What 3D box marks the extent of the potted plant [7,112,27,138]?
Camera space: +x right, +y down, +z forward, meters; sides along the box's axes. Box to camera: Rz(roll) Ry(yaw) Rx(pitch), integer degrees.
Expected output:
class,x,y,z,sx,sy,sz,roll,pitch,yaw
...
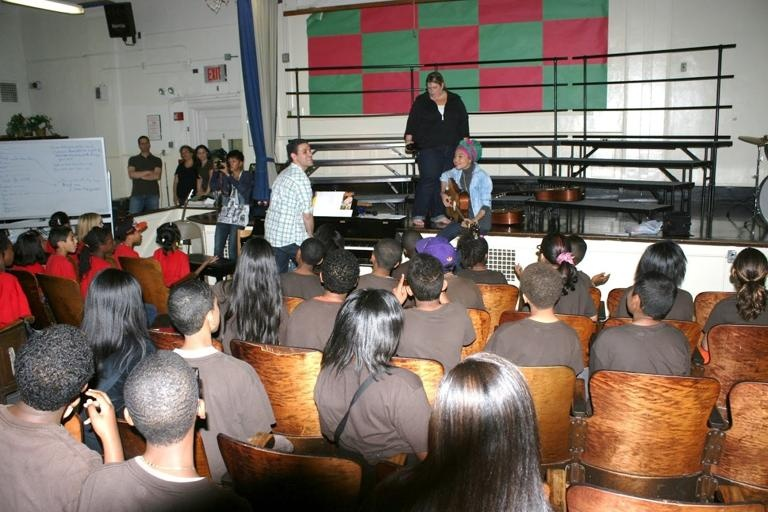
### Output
class,x,y,z,sx,sy,sz,roll,pitch,yaw
potted plant,-7.610,-2.704,11.538,0.320,0.483,0.412,-3,10,-33

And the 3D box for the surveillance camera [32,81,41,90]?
class,x,y,z,sx,sy,sz,roll,pitch,yaw
surveillance camera,-7.874,-3.879,12.596,0.275,0.181,0.057,7,9,27

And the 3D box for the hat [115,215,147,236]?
class,x,y,z,sx,sy,sz,roll,pitch,yaw
hat,-2.885,-0.348,6.386,0.371,0.210,0.232,-14,26,-35

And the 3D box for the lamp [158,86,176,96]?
class,x,y,z,sx,sy,sz,roll,pitch,yaw
lamp,-4.533,-3.460,11.644,0.460,0.168,0.067,7,10,27
